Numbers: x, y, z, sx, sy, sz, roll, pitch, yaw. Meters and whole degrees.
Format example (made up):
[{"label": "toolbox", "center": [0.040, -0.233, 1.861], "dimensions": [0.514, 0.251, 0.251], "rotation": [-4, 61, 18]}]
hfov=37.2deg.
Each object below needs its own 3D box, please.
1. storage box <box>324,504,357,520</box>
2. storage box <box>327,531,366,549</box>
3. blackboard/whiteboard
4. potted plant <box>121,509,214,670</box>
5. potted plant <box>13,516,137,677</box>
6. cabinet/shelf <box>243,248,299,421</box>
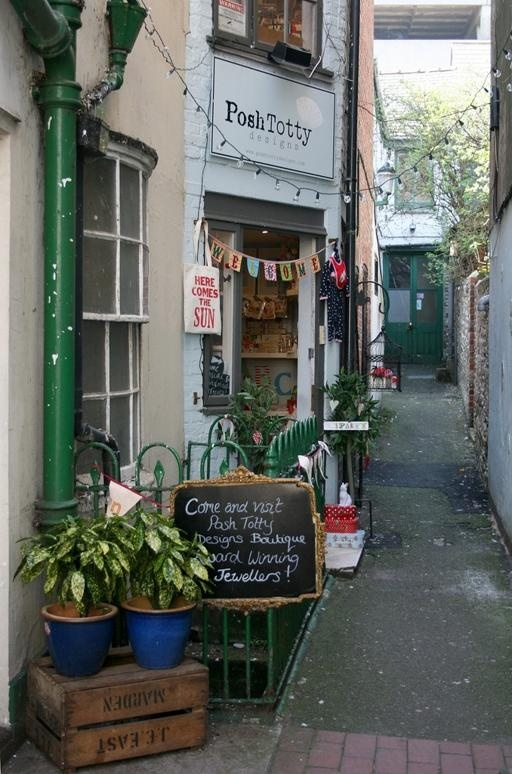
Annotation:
[{"label": "storage box", "center": [0.698, 1.047, 6.319], "dimensions": [0.269, 0.112, 0.132], "rotation": [5, 2, -3]}, {"label": "storage box", "center": [0.727, 1.253, 6.173], "dimensions": [0.327, 0.128, 0.223], "rotation": [4, 2, -16]}, {"label": "blackboard/whiteboard", "center": [-0.043, 0.645, 3.202], "dimensions": [0.669, 0.769, 0.035], "rotation": [0, -7, -6]}, {"label": "potted plant", "center": [-0.353, 0.766, 2.923], "dimensions": [0.281, 0.599, 0.297], "rotation": [1, -3, -19]}, {"label": "potted plant", "center": [-0.627, 0.735, 2.834], "dimensions": [0.431, 0.670, 0.422], "rotation": [6, 3, 44]}, {"label": "cabinet/shelf", "center": [0.132, -0.575, 8.069], "dimensions": [0.746, 2.282, 0.236], "rotation": [3, 10, 16]}]
